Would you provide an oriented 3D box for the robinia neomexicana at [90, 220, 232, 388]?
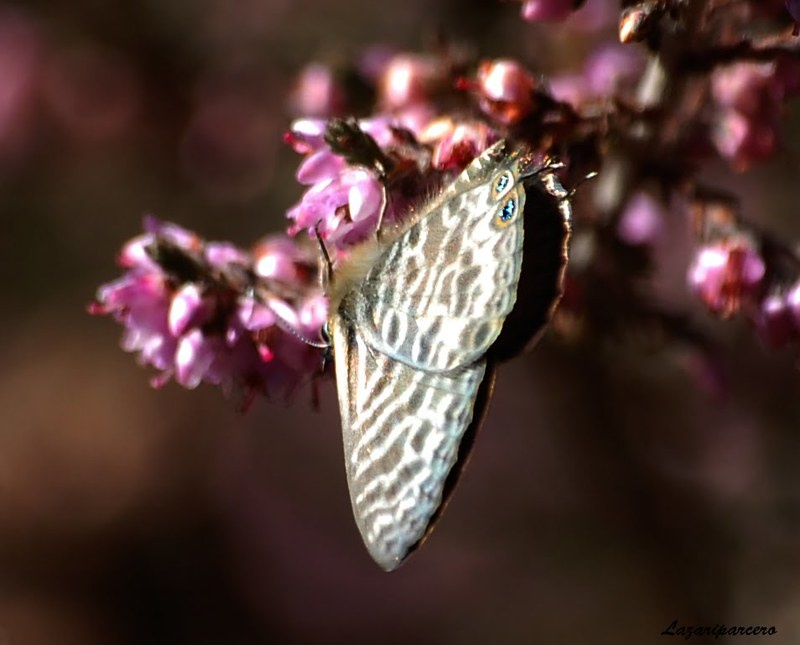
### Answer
[{"bbox_3d":[-0.321,-0.026,1.365,0.188,0.218,0.058,0,3,12],"label":"robinia neomexicana"}]

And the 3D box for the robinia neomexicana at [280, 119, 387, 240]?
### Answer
[{"bbox_3d":[-0.086,-0.162,1.286,0.096,0.168,0.079,6,24,19],"label":"robinia neomexicana"}]
